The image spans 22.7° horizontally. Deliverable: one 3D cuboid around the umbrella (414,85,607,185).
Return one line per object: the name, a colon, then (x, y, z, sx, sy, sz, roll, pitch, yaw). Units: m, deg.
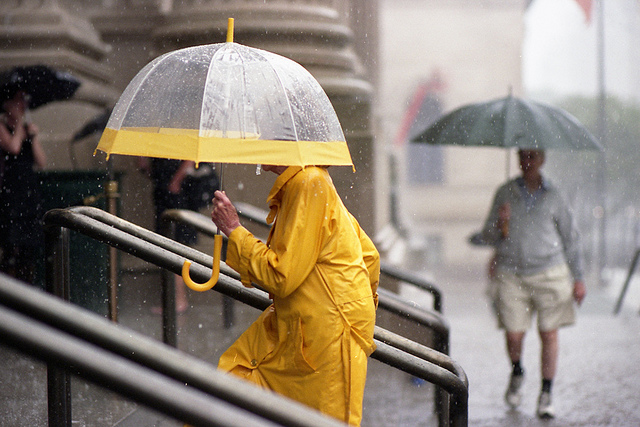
umbrella: (1.656, -0.667, 14.062, 1.592, 0.716, 1.538, -5, 11, -44)

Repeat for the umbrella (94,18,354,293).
umbrella: (-0.812, -0.381, 12.282, 1.997, 2.104, 1.979, 3, 8, -9)
